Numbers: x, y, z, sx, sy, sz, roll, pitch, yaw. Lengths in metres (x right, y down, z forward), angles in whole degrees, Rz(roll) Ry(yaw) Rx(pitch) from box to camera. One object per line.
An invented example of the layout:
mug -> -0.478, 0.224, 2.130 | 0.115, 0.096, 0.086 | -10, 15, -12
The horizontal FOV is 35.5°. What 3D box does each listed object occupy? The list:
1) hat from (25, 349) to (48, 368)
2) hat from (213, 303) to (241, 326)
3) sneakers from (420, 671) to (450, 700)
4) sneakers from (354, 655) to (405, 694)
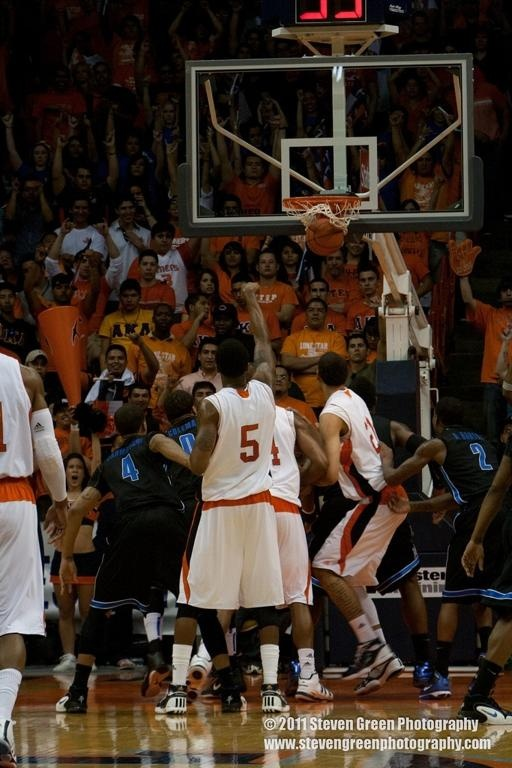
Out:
hat -> -2.412, -0.301, 8.774 | 0.191, 0.160, 0.236 | -2, 1, -17
hat -> -0.325, -0.804, 9.198 | 0.332, 0.242, 0.239 | -2, 1, -21
sneakers -> 0.977, 1.665, 4.396 | 0.153, 0.130, 0.128 | -1, 1, 9
sneakers -> 0.701, 1.676, 4.585 | 0.267, 0.272, 0.171 | -2, 2, -3
